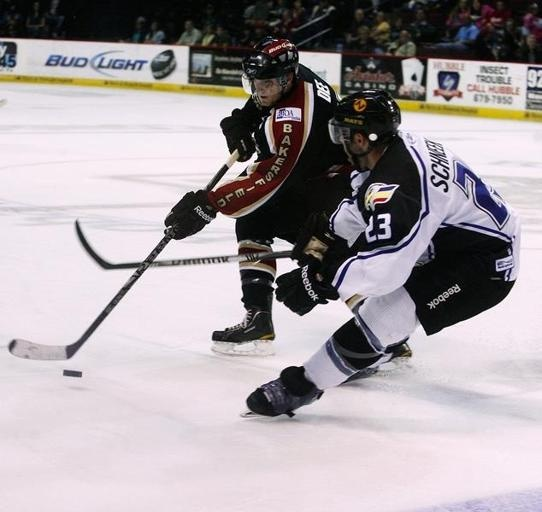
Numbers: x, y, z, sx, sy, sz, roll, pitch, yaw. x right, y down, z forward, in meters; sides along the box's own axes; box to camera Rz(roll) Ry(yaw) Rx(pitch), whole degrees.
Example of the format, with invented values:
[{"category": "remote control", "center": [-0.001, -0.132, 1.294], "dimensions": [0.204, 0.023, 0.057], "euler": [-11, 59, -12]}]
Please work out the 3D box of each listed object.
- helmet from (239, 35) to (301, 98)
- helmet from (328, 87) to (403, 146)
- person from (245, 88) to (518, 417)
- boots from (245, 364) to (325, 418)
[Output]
[{"category": "helmet", "center": [-0.037, -0.842, 2.998], "dimensions": [0.383, 0.224, 0.221], "euler": [-4, 31, -9]}, {"category": "helmet", "center": [0.321, -0.465, 2.224], "dimensions": [0.281, 0.146, 0.216], "euler": [17, 27, 32]}, {"category": "person", "center": [0.421, 0.023, 2.314], "dimensions": [0.607, 1.175, 0.572], "euler": [16, 16, 33]}, {"category": "boots", "center": [0.045, 0.482, 2.360], "dimensions": [0.337, 0.103, 0.142], "euler": [-15, 38, -13]}]
